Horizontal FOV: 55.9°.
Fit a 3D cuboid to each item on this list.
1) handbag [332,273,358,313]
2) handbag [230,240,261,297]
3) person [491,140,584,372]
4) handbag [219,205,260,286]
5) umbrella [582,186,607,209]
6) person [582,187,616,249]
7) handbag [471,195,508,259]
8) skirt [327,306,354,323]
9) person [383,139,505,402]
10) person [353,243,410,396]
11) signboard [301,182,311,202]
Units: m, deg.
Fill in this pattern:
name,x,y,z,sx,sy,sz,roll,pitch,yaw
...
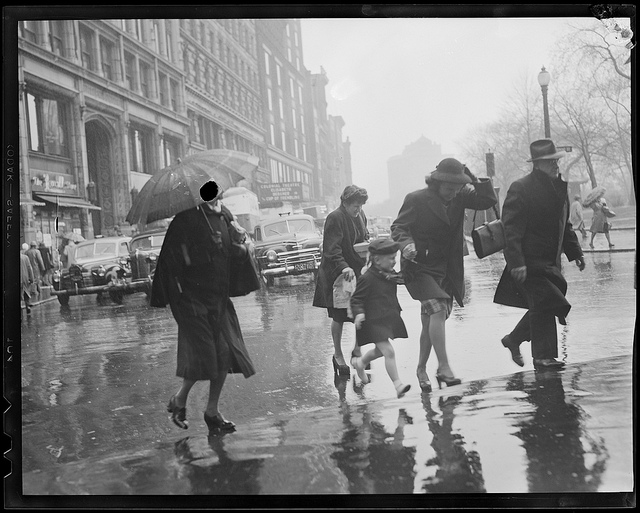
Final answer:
name,x,y,z,sx,sy,sz,roll,pitch,yaw
handbag,0.221,0.370,5.828,0.275,0.491,0.269,3,-2,7
handbag,-0.700,0.115,5.407,0.306,0.444,0.128,-3,17,-8
person,1.995,-0.027,5.678,0.748,1.601,0.481,-4,1,9
handbag,-0.737,-0.120,5.422,0.420,0.603,0.181,-11,24,44
umbrella,2.875,-0.612,6.347,0.243,0.161,0.187,-4,1,20
person,3.114,-0.436,6.780,0.360,0.759,0.326,-7,21,5
handbag,1.623,-0.232,5.828,0.318,0.431,0.153,-5,1,-22
skirt,0.194,0.559,5.856,0.217,0.135,0.196,9,8,18
person,1.179,0.131,5.674,1.118,1.931,0.744,-4,1,3
person,0.528,0.572,5.552,0.467,1.182,0.356,-4,1,3
signboard,-0.146,-0.638,6.031,0.051,0.169,0.109,-3,2,41
